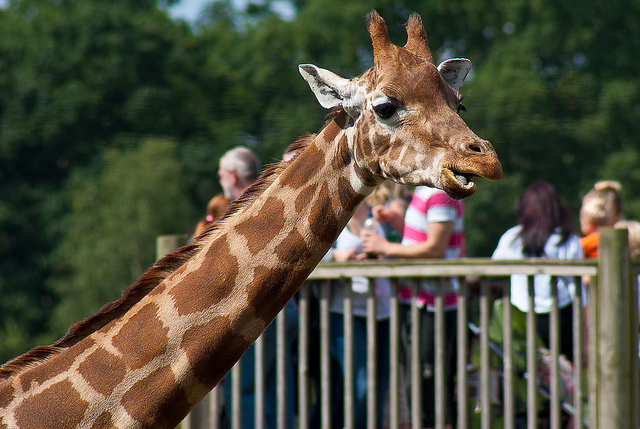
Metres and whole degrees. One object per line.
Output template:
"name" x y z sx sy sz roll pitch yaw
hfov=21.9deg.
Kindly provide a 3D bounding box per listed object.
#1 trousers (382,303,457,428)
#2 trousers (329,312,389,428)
"trousers" 2.200 3.132 34.214 1.383 0.829 2.654 2 85 1
"trousers" 0.730 3.206 33.877 1.994 0.484 2.055 3 91 43
